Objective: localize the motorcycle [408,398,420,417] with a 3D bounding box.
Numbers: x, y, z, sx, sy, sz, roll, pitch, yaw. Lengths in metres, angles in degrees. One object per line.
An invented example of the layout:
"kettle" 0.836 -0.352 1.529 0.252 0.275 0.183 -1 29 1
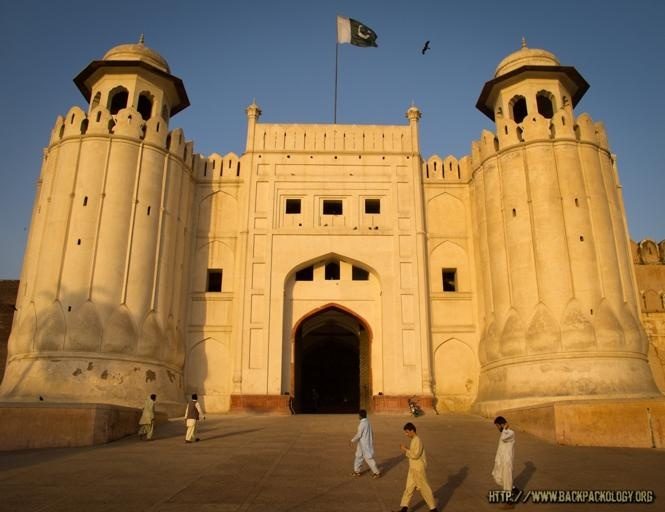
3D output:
"motorcycle" 2.828 5.100 16.747 0.436 0.541 0.692 1 -12 1

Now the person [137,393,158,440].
"person" -4.297 3.710 11.467 0.342 0.929 0.861 5 -13 -19
